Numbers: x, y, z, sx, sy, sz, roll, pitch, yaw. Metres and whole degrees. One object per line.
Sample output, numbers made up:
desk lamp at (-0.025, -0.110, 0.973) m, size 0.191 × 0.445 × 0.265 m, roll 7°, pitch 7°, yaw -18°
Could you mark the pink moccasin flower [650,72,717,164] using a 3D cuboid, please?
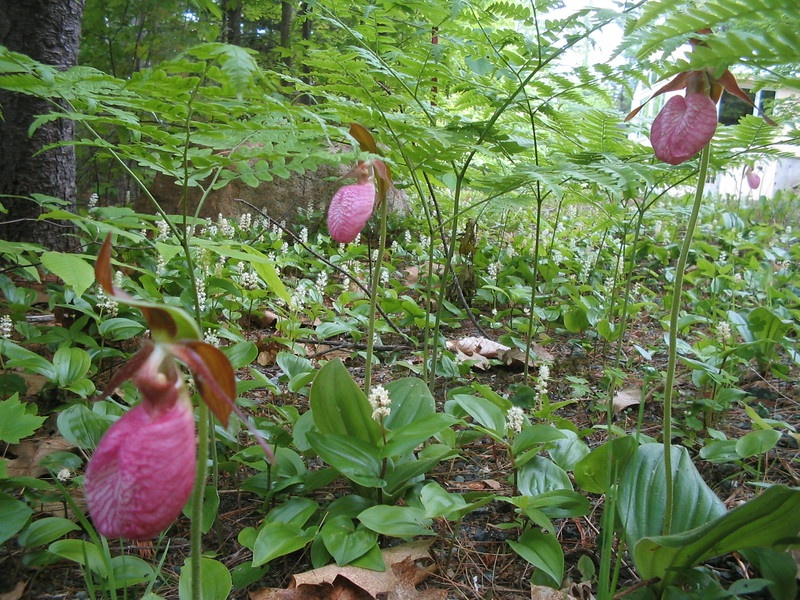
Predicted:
pink moccasin flower at (1.324, -0.798, 3.056) m, size 0.265 × 0.329 × 0.100 m, roll 19°, pitch 14°, yaw 19°
